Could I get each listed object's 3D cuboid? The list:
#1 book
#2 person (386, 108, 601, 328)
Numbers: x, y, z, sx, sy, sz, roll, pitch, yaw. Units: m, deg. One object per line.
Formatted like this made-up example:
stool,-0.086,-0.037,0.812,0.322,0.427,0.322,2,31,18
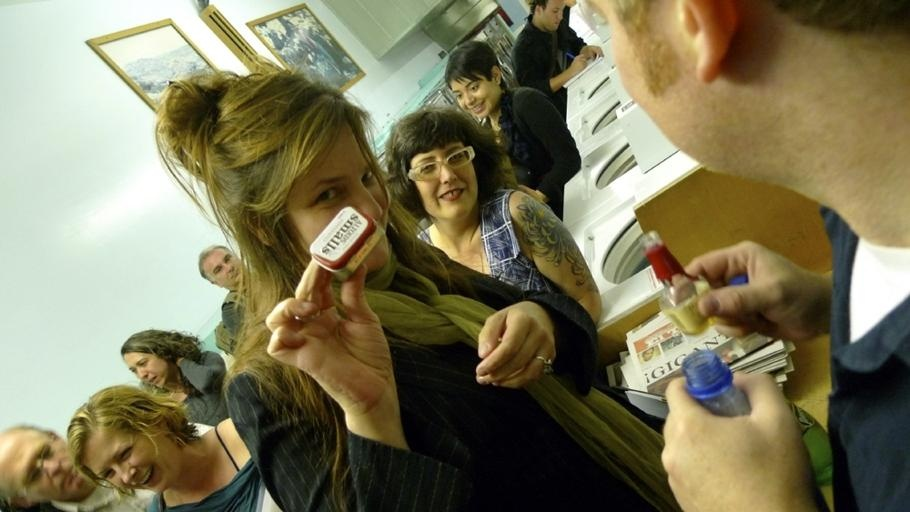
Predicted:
book,1.163,0.501,3.287,0.543,0.126,0.535,-3,44,46
person,0.215,-0.204,3.784,0.662,1.437,0.601,-59,-5,3
